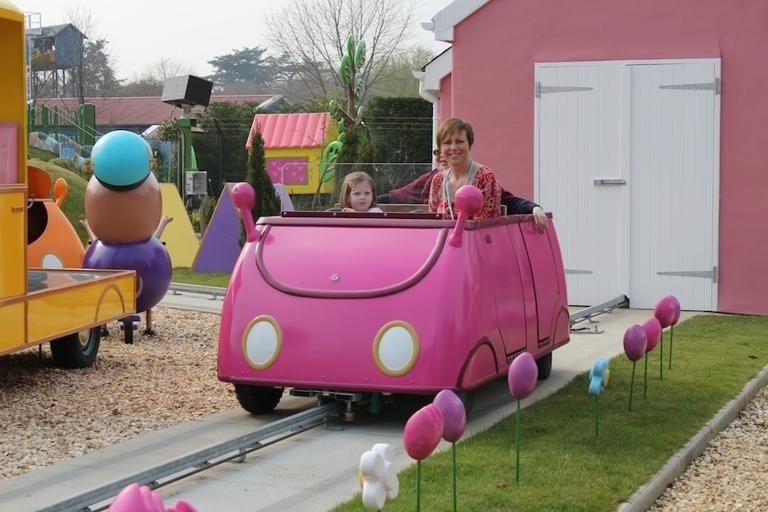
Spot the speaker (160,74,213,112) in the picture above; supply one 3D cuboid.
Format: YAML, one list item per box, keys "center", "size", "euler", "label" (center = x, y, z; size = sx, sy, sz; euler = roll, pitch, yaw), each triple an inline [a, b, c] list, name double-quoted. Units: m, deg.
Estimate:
- center: [-5.500, -4.565, 22.813]
  size: [1.030, 0.661, 1.091]
  euler: [4, -3, 24]
  label: "speaker"
